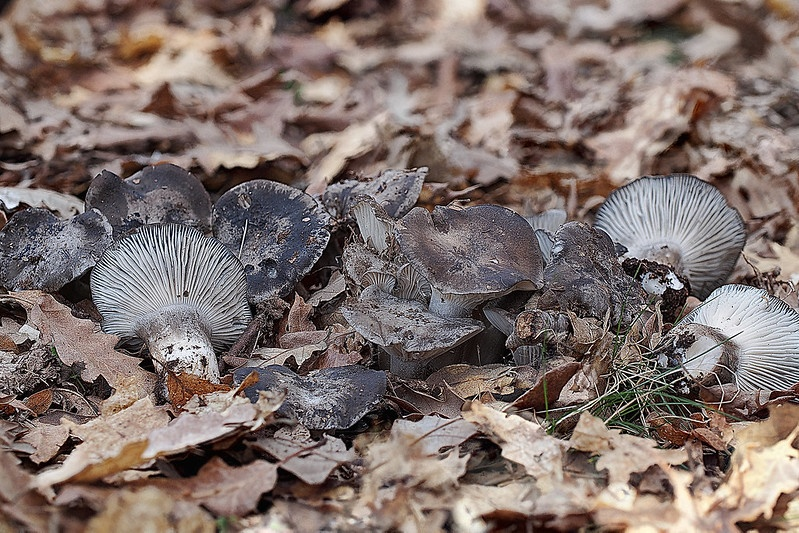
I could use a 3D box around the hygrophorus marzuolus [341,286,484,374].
[{"bbox_3d":[0.042,0.330,4.367,0.679,0.255,0.400,27,59,16],"label":"hygrophorus marzuolus"}]
